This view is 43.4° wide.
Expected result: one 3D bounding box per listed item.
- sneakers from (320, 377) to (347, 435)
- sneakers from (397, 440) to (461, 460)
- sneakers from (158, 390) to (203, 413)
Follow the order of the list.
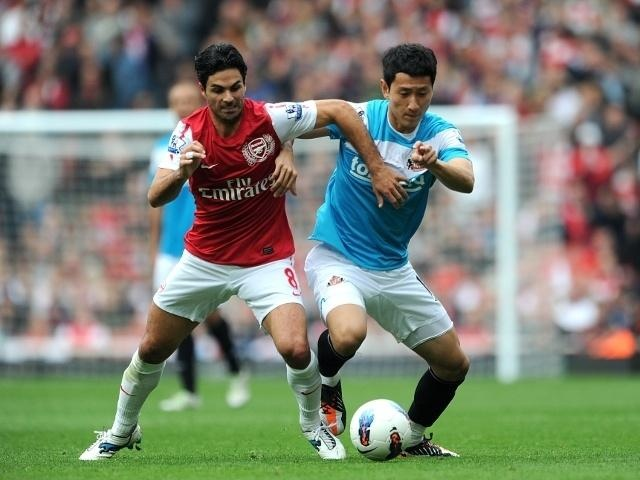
[{"bbox_3d":[0.111,1.339,6.412,0.144,0.498,0.199,-10,2,5],"label":"sneakers"},{"bbox_3d":[0.841,1.614,6.226,0.462,0.229,0.167,0,-5,11],"label":"sneakers"},{"bbox_3d":[-1.751,1.915,9.571,0.639,0.317,0.253,-3,0,17],"label":"sneakers"}]
